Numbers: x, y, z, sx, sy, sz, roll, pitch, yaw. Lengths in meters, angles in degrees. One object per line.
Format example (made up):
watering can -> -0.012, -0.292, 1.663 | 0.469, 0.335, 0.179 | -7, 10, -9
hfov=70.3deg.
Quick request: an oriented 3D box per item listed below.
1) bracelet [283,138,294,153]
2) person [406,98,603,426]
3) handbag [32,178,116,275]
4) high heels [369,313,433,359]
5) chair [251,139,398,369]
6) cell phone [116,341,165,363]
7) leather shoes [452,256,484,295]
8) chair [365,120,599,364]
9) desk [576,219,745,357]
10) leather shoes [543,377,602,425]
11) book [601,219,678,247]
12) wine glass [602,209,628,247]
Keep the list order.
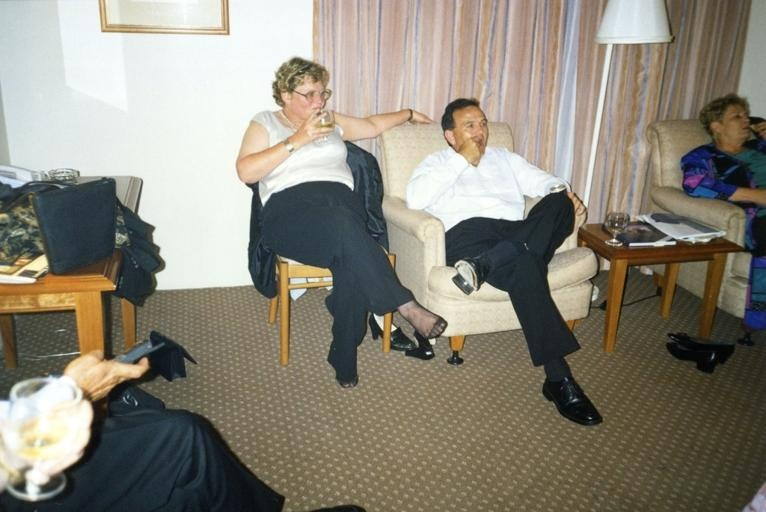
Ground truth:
bracelet -> -0.490, -0.569, 2.817 | 0.047, 0.064, 0.015 | -19, 7, 16
person -> 0.695, -0.085, 3.016 | 0.862, 1.648, 1.305 | -8, 10, -11
handbag -> -1.196, -0.123, 2.109 | 0.094, 0.314, 0.305 | 9, 16, 23
high heels -> 0.100, 0.476, 3.193 | 0.451, 0.166, 0.164 | 25, 21, 37
chair -> -0.290, 0.008, 3.402 | 0.714, 1.158, 0.811 | -3, -2, -10
cell phone -> -0.829, 0.327, 1.847 | 0.102, 0.032, 0.103 | -1, 19, 43
leather shoes -> 0.429, 0.102, 2.789 | 0.178, 0.095, 0.243 | -15, 40, 16
chair -> 0.587, -0.135, 3.359 | 1.023, 1.251, 1.221 | -8, 15, -16
desk -> 1.592, 0.148, 3.404 | 0.775, 0.680, 0.791 | -5, 24, -5
leather shoes -> 0.906, 0.695, 2.686 | 0.133, 0.137, 0.303 | -17, 28, -27
book -> 1.497, -0.117, 3.154 | 0.212, 0.029, 0.196 | -10, 29, -17
wine glass -> 1.354, -0.161, 3.156 | 0.124, 0.187, 0.117 | 10, 15, 34
